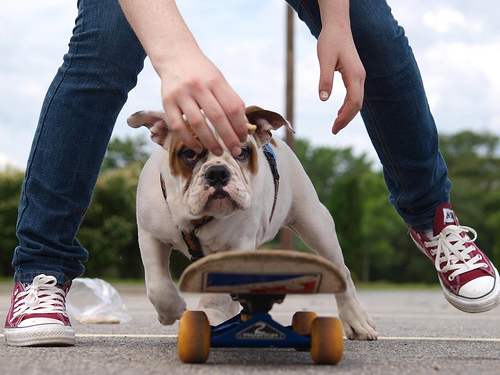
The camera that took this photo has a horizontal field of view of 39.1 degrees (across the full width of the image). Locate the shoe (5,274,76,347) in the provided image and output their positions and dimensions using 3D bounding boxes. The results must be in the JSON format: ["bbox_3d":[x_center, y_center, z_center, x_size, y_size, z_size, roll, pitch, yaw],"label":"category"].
[{"bbox_3d":[-1.035,0.610,3.469,0.331,0.335,0.287,-2,-2,-11],"label":"shoe"}]

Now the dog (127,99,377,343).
[{"bbox_3d":[-0.003,0.235,3.959,1.026,1.142,1.891,-2,-6,21],"label":"dog"}]
